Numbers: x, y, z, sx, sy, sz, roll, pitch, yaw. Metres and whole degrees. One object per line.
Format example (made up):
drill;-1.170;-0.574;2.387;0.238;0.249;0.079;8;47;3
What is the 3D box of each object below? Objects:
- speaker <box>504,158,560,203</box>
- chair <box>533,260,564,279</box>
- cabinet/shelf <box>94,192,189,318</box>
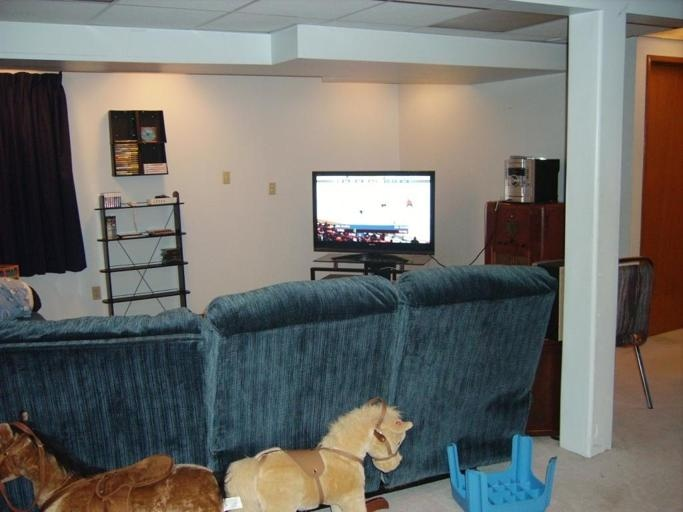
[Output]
speaker;1.693;-0.625;5.619;0.407;0.416;0.389;-3;5;-31
chair;1.321;0.090;4.036;0.202;0.117;0.144;-3;-2;25
cabinet/shelf;-1.951;-0.029;6.042;0.962;1.634;0.257;-6;16;-24
